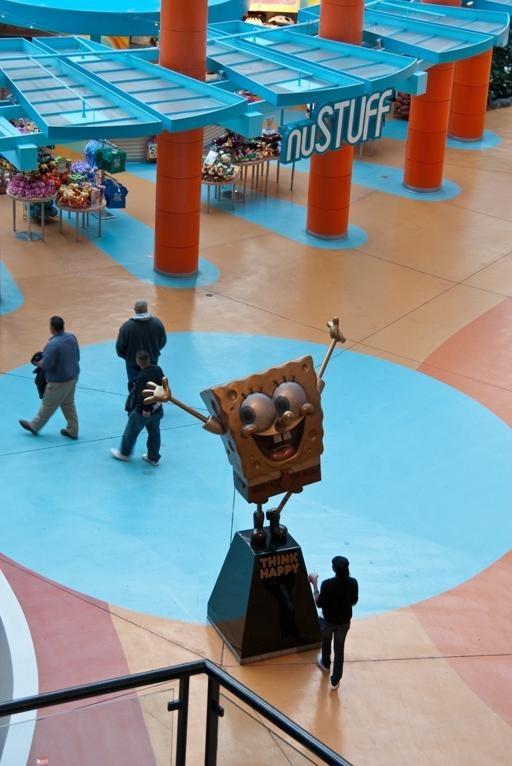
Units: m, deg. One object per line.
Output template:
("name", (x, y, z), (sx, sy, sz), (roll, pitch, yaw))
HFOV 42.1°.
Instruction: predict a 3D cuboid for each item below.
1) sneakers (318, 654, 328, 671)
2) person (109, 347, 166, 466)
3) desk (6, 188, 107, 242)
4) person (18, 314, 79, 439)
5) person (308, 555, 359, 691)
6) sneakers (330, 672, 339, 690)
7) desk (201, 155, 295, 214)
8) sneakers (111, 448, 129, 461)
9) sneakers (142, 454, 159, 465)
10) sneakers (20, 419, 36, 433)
("sneakers", (0.466, 1.963, 4.662), (0.045, 0.044, 0.116), (-5, 35, -12))
("person", (-1.192, 0.280, 6.686), (0.522, 1.350, 0.899), (1, 16, -9))
("desk", (-3.755, -3.362, 13.112), (1.484, 0.621, 1.484), (23, 34, 31))
("person", (-2.110, -0.024, 7.059), (0.591, 1.399, 0.587), (-7, 20, -33))
("person", (0.518, 1.550, 4.426), (0.259, 0.999, 0.336), (7, 17, 8))
("sneakers", (0.521, 1.988, 4.418), (0.063, 0.110, 0.046), (-1, 13, -7))
("desk", (-0.233, -4.440, 15.048), (2.039, 0.444, 1.148), (-22, 43, -29))
("sneakers", (-1.453, 0.791, 7.095), (0.215, 0.091, 0.084), (28, -19, -8))
("sneakers", (-1.120, 0.833, 7.124), (0.206, 0.083, 0.071), (32, 45, 29))
("sneakers", (-2.510, 0.487, 7.319), (0.075, 0.178, 0.065), (-52, 25, -17))
